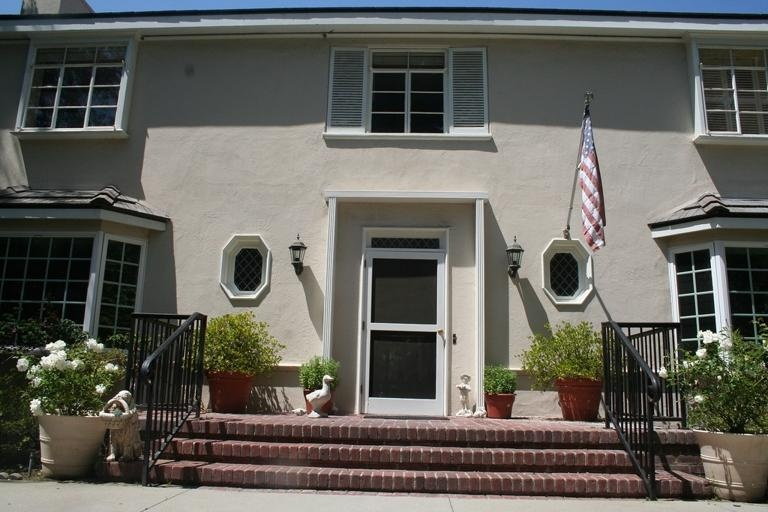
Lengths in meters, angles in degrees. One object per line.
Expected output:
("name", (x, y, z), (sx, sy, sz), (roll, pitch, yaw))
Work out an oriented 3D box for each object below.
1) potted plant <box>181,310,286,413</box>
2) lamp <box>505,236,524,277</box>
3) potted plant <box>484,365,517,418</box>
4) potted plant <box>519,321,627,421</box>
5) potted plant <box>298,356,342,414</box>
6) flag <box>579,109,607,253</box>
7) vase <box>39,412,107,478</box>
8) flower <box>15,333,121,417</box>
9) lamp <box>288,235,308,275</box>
("potted plant", (-2.448, 1.869, 11.068), (1.883, 2.134, 1.442), (2, -12, -7))
("lamp", (2.396, -0.014, 11.073), (0.313, 0.746, 0.342), (-1, -13, 11))
("potted plant", (2.020, 2.422, 10.791), (0.739, 0.788, 0.684), (11, -20, -40))
("potted plant", (3.126, 1.945, 10.505), (1.255, 1.654, 0.619), (-4, -14, 21))
("potted plant", (-1.122, 2.278, 10.671), (0.978, 1.218, 0.856), (2, -14, -8))
("flag", (3.600, -1.399, 10.572), (0.348, 2.613, 0.331), (-3, -13, 20))
("vase", (-4.413, 2.638, 8.717), (0.912, 0.701, 0.844), (11, -12, -36))
("flower", (-4.563, 1.768, 9.052), (1.175, 1.116, 1.174), (1, -13, 1))
("lamp", (-1.579, -0.060, 11.242), (0.320, 0.778, 0.268), (3, -13, -6))
